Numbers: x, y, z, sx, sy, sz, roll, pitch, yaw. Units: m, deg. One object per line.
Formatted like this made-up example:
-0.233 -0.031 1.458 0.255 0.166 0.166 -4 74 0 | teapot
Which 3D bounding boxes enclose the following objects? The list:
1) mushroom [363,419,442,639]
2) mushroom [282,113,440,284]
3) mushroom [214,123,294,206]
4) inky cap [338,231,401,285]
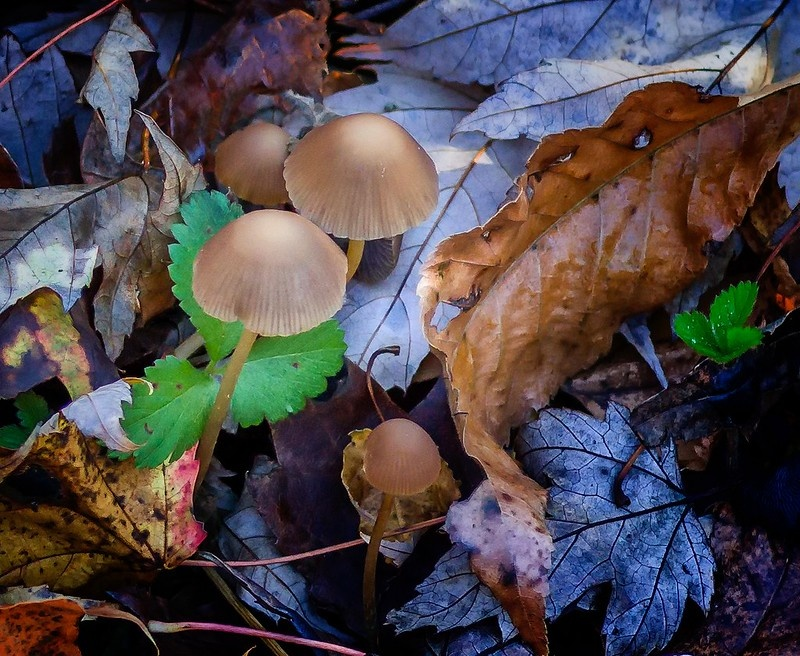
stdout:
0.007 0.680 3.102 0.258 0.779 0.289 -13 36 -25 | mushroom
-0.158 -0.345 3.273 0.370 0.510 0.377 22 36 23 | mushroom
-0.527 -0.585 3.381 0.274 0.234 0.204 -2 35 -8 | mushroom
-0.098 -0.262 3.491 0.167 0.188 0.063 -16 53 23 | inky cap
